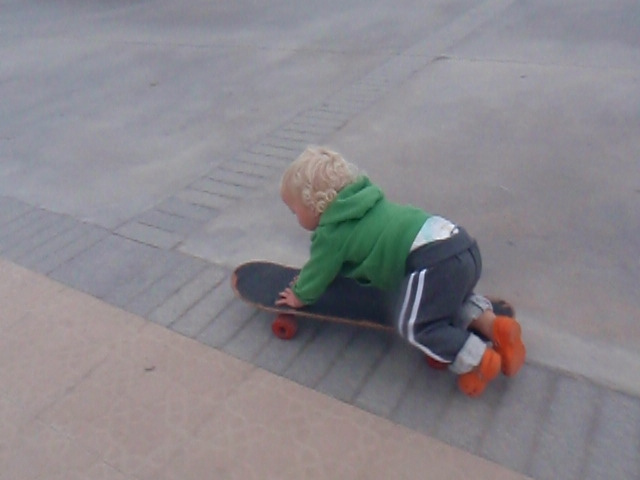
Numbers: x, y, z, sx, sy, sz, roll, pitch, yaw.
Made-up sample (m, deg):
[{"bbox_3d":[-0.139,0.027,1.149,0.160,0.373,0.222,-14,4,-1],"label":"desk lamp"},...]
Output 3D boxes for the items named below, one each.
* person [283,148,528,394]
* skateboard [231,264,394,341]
[{"bbox_3d":[0.430,0.155,4.276,1.774,0.856,0.720,31,42,29],"label":"person"},{"bbox_3d":[-0.070,0.332,4.381,1.187,0.223,0.431,11,50,15],"label":"skateboard"}]
